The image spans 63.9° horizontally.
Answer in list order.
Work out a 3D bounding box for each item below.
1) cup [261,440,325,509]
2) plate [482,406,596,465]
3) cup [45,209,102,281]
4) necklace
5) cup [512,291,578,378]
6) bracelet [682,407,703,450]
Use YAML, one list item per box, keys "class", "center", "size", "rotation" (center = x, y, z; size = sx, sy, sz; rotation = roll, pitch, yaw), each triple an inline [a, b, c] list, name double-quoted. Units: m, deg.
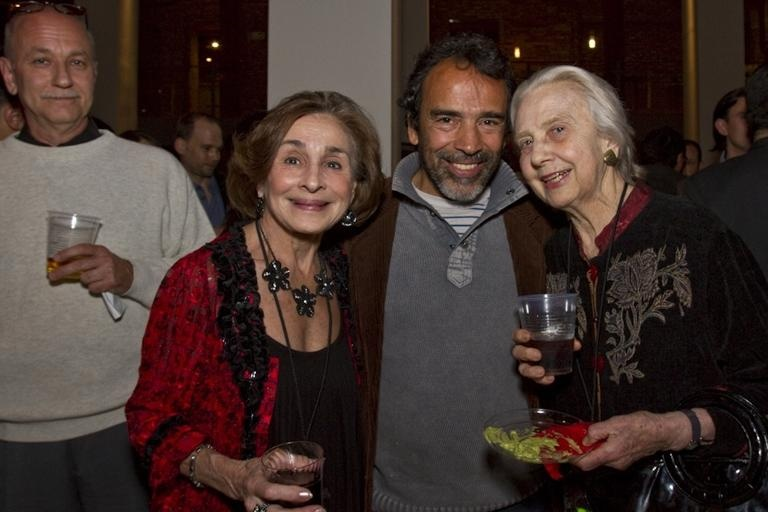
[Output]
- class: "cup"
  center: [-0.291, 0.734, 2.087]
  size: [0.183, 0.209, 0.213]
  rotation: [-1, -3, -1]
- class: "plate"
  center: [0.575, 0.656, 2.276]
  size: [0.374, 0.080, 0.317]
  rotation: [-5, 2, -26]
- class: "cup"
  center: [-1.338, -0.047, 2.617]
  size: [0.242, 0.277, 0.158]
  rotation: [-4, 2, -11]
- class: "necklace"
  center: [-0.381, 0.065, 2.550]
  size: [0.020, 0.407, 0.389]
  rotation: [-36, -31, 27]
- class: "cup"
  center: [0.647, 0.301, 2.484]
  size: [0.303, 0.339, 0.297]
  rotation: [-4, -2, 0]
- class: "bracelet"
  center: [1.131, 0.621, 2.238]
  size: [0.036, 0.107, 0.102]
  rotation: [-10, -1, 22]
